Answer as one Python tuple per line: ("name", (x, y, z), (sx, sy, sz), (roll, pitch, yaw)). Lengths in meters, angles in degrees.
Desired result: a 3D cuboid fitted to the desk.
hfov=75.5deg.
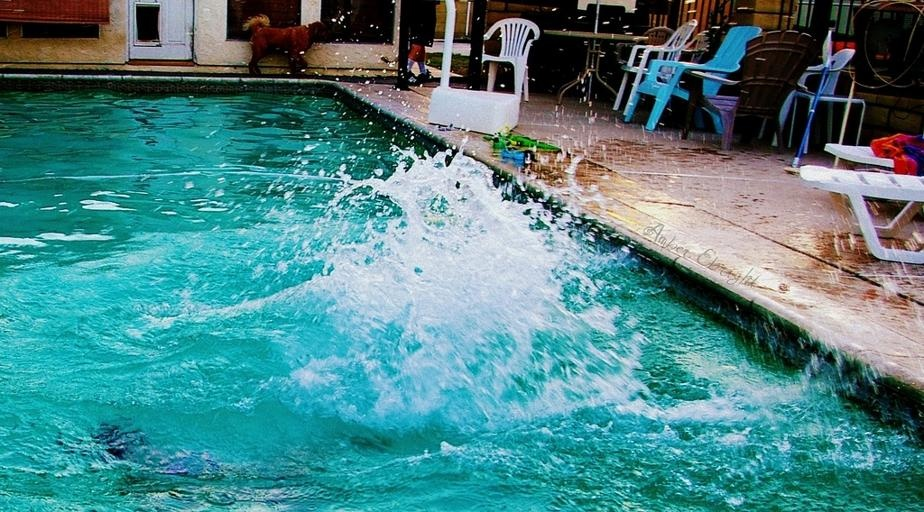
("desk", (2.873, -4.253, 13.351), (2.771, 1.464, 2.311), (4, 25, -8))
